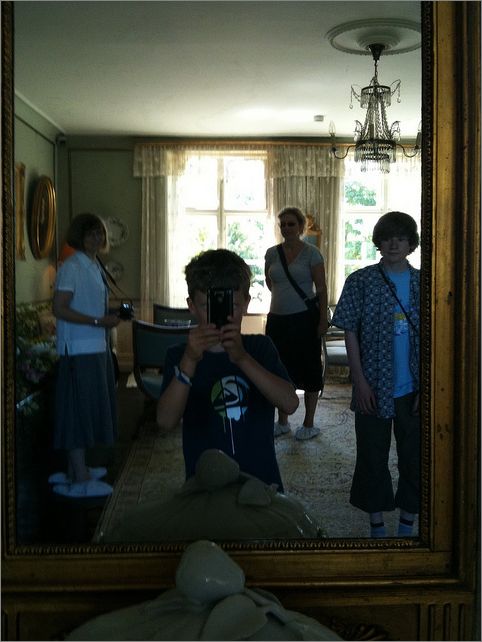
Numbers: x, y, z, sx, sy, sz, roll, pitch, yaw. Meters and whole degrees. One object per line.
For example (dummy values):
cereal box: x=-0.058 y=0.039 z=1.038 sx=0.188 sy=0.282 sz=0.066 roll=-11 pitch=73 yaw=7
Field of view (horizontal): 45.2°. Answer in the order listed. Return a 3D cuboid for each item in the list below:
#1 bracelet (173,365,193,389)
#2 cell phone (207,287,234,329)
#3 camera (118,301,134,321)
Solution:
bracelet: x=-0.102 y=0.102 z=1.031 sx=0.022 sy=0.037 sz=0.017 roll=-16 pitch=-5 yaw=-29
cell phone: x=-0.037 y=-0.024 z=0.987 sx=0.045 sy=0.121 sz=0.014 roll=0 pitch=23 yaw=-1
camera: x=-0.199 y=-0.016 z=1.009 sx=0.018 sy=0.029 sz=0.031 roll=7 pitch=37 yaw=0
